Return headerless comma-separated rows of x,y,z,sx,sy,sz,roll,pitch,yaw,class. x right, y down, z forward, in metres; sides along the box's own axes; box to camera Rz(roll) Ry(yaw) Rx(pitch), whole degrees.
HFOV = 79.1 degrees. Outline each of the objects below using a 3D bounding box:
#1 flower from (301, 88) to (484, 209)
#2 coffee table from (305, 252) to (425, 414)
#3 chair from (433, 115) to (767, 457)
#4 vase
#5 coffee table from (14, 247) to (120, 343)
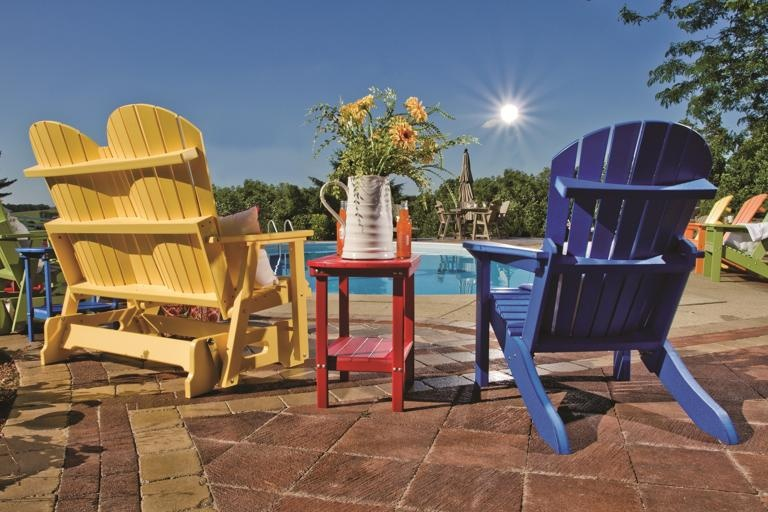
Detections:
-0.020,-0.778,3.223,1.018,0.600,0.938,5,16,-15,flower
-0.115,0.453,3.082,0.663,0.932,0.792,0,11,4,coffee table
1.225,0.101,2.671,1.171,1.671,0.980,-2,11,-5,chair
-0.103,-0.256,2.989,0.332,0.531,0.218,-1,11,-2,vase
-2.912,0.200,4.462,0.738,0.573,0.495,-10,15,-31,coffee table
